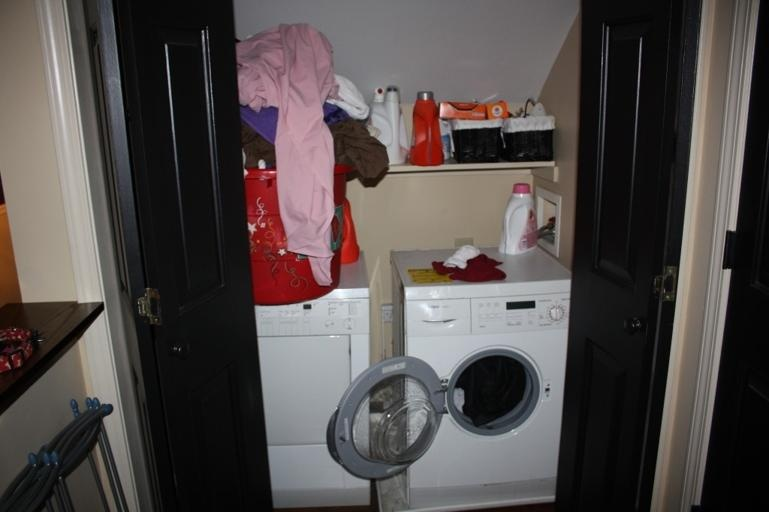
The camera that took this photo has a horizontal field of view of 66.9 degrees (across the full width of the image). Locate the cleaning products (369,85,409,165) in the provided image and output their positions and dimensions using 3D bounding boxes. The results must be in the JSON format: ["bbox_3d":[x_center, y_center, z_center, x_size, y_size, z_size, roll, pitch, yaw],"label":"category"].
[{"bbox_3d":[0.022,-0.655,2.936,0.147,0.387,0.221,4,15,24],"label":"cleaning products"}]

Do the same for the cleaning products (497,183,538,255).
[{"bbox_3d":[0.709,-0.196,3.005,0.214,0.371,0.145,-3,14,-2],"label":"cleaning products"}]

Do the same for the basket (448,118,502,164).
[{"bbox_3d":[0.507,-0.595,3.010,0.245,0.242,0.152,4,17,26],"label":"basket"}]

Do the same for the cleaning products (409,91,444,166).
[{"bbox_3d":[0.217,-0.649,2.961,0.184,0.366,0.137,-2,14,0],"label":"cleaning products"}]

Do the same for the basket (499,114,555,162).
[{"bbox_3d":[0.721,-0.604,2.954,0.252,0.251,0.162,-4,9,-11],"label":"basket"}]
